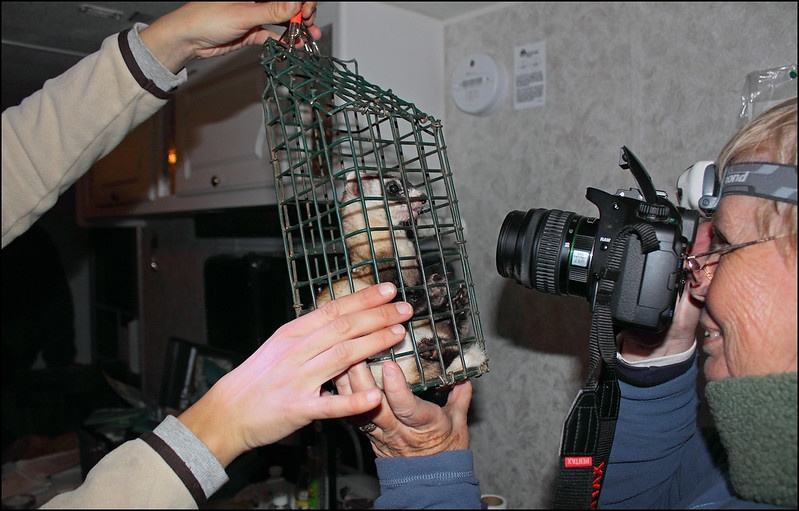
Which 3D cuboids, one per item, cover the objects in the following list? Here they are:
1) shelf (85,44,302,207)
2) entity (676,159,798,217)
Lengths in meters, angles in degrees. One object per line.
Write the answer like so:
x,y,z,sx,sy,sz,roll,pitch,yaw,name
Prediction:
-0.972,-0.471,2.679,1.050,0.634,0.562,-8,-12,9,shelf
0.786,-0.165,1.320,0.099,0.134,0.287,-7,6,-13,entity
